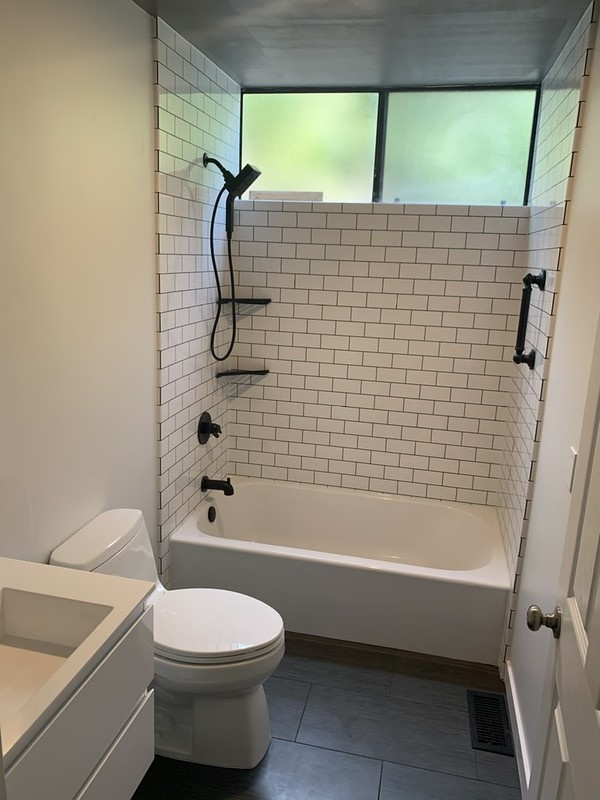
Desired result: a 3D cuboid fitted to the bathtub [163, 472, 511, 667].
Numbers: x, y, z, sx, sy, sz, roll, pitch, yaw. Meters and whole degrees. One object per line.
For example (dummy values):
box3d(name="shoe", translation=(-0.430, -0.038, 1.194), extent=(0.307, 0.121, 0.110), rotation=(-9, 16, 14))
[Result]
box3d(name="bathtub", translation=(0.218, 0.808, 3.214), extent=(1.568, 0.433, 0.930), rotation=(5, 14, 17))

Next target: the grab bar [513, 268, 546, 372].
box3d(name="grab bar", translation=(0.909, -0.322, 2.517), extent=(0.062, 0.393, 0.238), rotation=(4, 12, 11))

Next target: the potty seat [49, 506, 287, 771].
box3d(name="potty seat", translation=(-0.374, 0.803, 2.041), extent=(0.762, 0.814, 0.424), rotation=(6, 12, 16))

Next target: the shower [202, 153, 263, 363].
box3d(name="shower", translation=(-0.342, -0.640, 3.124), extent=(0.206, 1.090, 0.272), rotation=(6, 11, 13))

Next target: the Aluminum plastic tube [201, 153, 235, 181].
box3d(name="Aluminum plastic tube", translation=(-0.398, -1.084, 2.903), extent=(0.158, 0.093, 0.094), rotation=(26, 36, 28))

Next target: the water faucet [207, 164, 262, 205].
box3d(name="water faucet", translation=(-0.309, -1.011, 2.928), extent=(0.225, 0.166, 0.128), rotation=(8, 9, 3))

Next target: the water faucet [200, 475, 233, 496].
box3d(name="water faucet", translation=(-0.445, 0.451, 3.315), extent=(0.157, 0.101, 0.097), rotation=(4, 8, 13))
